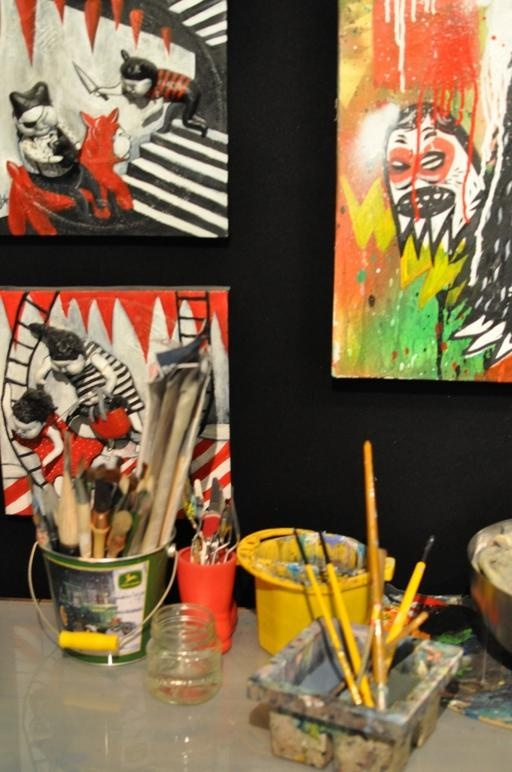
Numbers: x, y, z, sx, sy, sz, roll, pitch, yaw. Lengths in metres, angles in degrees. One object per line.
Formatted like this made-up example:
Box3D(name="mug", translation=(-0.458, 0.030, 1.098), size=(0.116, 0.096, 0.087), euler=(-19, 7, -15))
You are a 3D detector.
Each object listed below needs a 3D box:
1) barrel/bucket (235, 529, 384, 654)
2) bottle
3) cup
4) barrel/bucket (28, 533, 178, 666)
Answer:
Box3D(name="barrel/bucket", translation=(0.053, 0.261, 0.946), size=(0.159, 0.119, 0.172), euler=(-6, 3, 0))
Box3D(name="bottle", translation=(-0.077, 0.301, 0.865), size=(0.085, 0.092, 0.094), euler=(0, 6, 3))
Box3D(name="cup", translation=(-0.056, 0.266, 0.926), size=(0.064, 0.126, 0.127), euler=(1, 12, 4))
Box3D(name="barrel/bucket", translation=(-0.193, 0.269, 0.943), size=(0.176, 0.141, 0.164), euler=(0, 1, 0))
